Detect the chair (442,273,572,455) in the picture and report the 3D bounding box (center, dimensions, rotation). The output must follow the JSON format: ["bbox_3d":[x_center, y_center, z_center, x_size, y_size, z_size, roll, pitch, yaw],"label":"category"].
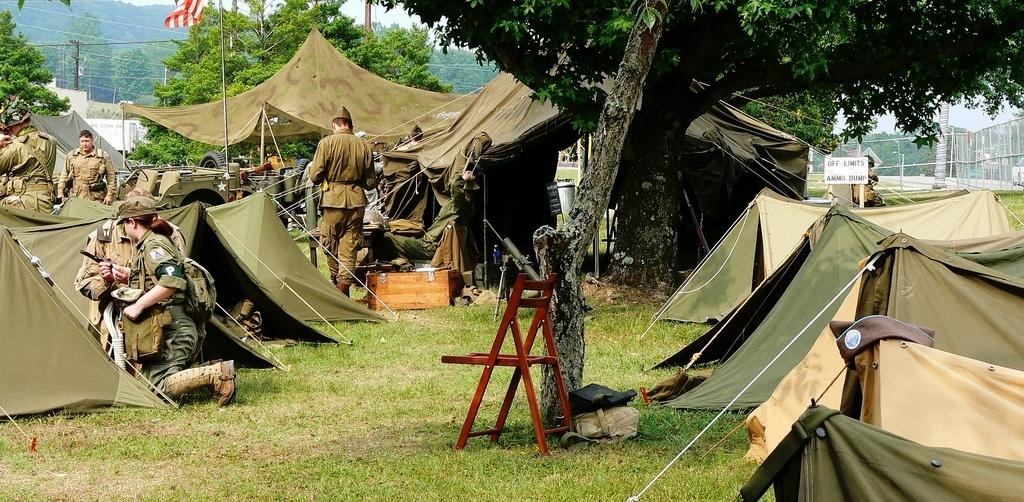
[{"bbox_3d":[0.067,1.725,17.532,1.752,2.768,0.797,2,6,-1],"label":"chair"}]

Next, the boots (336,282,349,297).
[{"bbox_3d":[-3.500,0.800,23.131,0.304,0.263,0.295,3,2,10],"label":"boots"}]

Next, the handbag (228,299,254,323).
[{"bbox_3d":[-4.989,1.088,20.628,0.342,0.413,0.152,-13,-42,15],"label":"handbag"}]

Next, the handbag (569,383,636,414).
[{"bbox_3d":[1.363,2.344,17.751,0.627,0.209,0.592,-6,5,-18],"label":"handbag"}]

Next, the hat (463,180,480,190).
[{"bbox_3d":[-0.884,-1.372,23.465,0.161,0.208,0.376,5,6,30],"label":"hat"}]

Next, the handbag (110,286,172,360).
[{"bbox_3d":[-6.104,1.187,18.460,1.215,1.312,0.715,-4,-3,11],"label":"handbag"}]

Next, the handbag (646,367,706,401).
[{"bbox_3d":[2.757,2.272,18.861,0.737,0.211,0.566,-14,2,-15],"label":"handbag"}]

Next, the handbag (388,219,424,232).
[{"bbox_3d":[-2.497,-0.567,26.392,0.508,0.171,0.447,1,1,-42],"label":"handbag"}]

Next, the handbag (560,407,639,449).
[{"bbox_3d":[1.466,2.761,17.645,0.898,0.295,0.640,-6,3,-9],"label":"handbag"}]

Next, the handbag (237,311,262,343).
[{"bbox_3d":[-4.779,1.410,20.716,0.211,0.520,0.418,-18,16,49],"label":"handbag"}]

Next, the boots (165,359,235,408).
[{"bbox_3d":[-5.116,2.145,18.512,0.831,0.408,0.825,-14,6,-9],"label":"boots"}]

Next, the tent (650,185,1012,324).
[{"bbox_3d":[5.956,-0.122,21.625,4.060,1.444,3.865,-3,-1,-6],"label":"tent"}]
